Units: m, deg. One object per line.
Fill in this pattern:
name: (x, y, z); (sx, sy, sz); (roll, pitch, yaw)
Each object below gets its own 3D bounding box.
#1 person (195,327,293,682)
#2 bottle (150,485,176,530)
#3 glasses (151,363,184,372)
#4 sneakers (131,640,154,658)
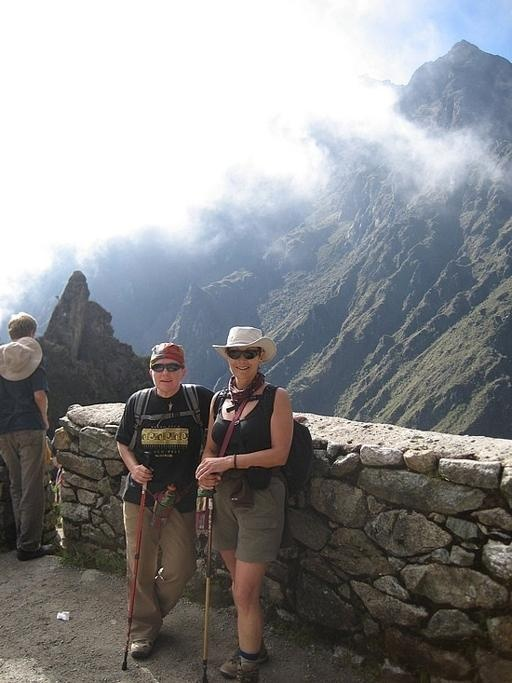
person: (-0.095, 1.165, 4.314); (0.729, 2.521, 0.990); (0, 4, -10)
bottle: (-0.770, 1.370, 4.602); (0.189, 0.346, 0.108); (1, 4, 2)
glasses: (-0.756, 0.224, 4.692); (0.256, 0.081, 0.074); (0, 4, -11)
sneakers: (-0.912, 2.454, 4.452); (0.073, 0.094, 0.219); (4, -23, 18)
